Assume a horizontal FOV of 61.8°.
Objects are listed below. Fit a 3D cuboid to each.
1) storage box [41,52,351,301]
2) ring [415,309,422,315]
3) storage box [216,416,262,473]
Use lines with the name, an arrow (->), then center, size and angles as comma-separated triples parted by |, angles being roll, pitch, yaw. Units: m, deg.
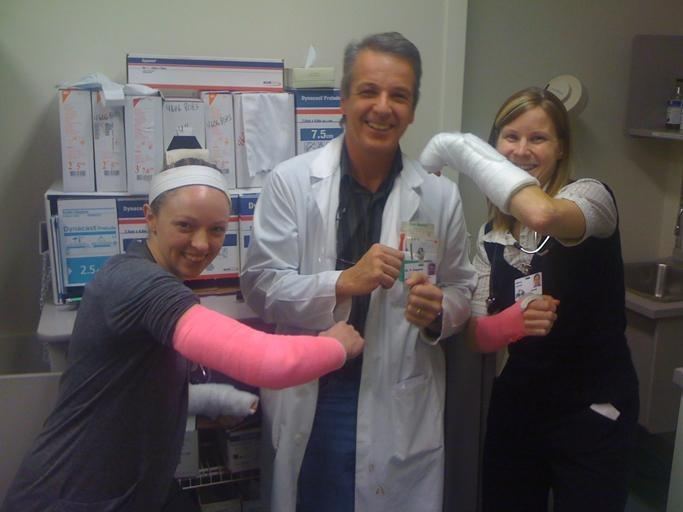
storage box -> -0.512, -0.292, 2.110 | 0.930, 0.965, 0.388 | -1, 6, -11
ring -> 0.247, 0.180, 1.830 | 0.014, 0.024, 0.015 | 2, 4, 0
storage box -> -0.409, 0.738, 2.384 | 0.191, 0.209, 0.202 | -6, 11, -15
